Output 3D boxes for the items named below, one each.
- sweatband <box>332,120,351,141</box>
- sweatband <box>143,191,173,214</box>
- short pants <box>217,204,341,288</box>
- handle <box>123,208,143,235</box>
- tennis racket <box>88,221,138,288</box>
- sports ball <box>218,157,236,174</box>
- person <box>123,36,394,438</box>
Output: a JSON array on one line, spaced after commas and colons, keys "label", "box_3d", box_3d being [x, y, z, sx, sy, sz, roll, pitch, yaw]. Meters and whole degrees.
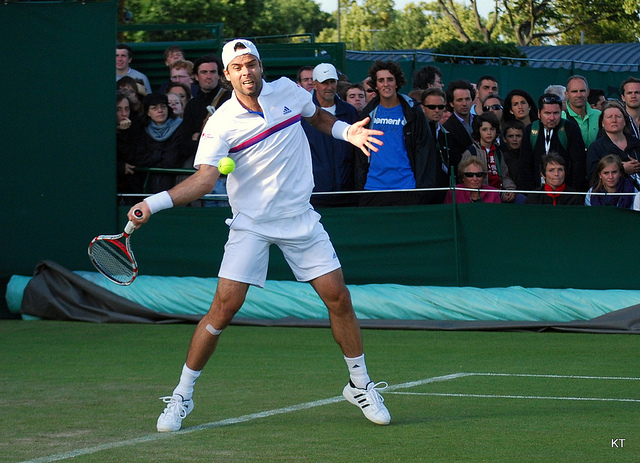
[{"label": "sweatband", "box_3d": [0.189, -0.833, 8.013, 0.155, 0.123, 0.178, -2, 5, -37]}, {"label": "sweatband", "box_3d": [-1.205, -0.223, 7.266, 0.205, 0.157, 0.161, -2, 8, -9]}, {"label": "short pants", "box_3d": [-0.272, 0.101, 7.713, 1.026, 0.602, 0.384, -1, -5, 27]}, {"label": "handle", "box_3d": [-1.385, -0.066, 7.183, 0.086, 0.079, 0.270, -15, -29, -37]}, {"label": "tennis racket", "box_3d": [-1.953, 0.231, 9.110, 0.756, 0.514, 0.137, -44, 4, 46]}, {"label": "sports ball", "box_3d": [-0.707, -0.496, 7.380, 0.134, 0.114, 0.121, -9, -18, -2]}, {"label": "person", "box_3d": [-0.418, -0.019, 7.566, 1.710, 2.908, 1.088, -2, 8, -4]}]
